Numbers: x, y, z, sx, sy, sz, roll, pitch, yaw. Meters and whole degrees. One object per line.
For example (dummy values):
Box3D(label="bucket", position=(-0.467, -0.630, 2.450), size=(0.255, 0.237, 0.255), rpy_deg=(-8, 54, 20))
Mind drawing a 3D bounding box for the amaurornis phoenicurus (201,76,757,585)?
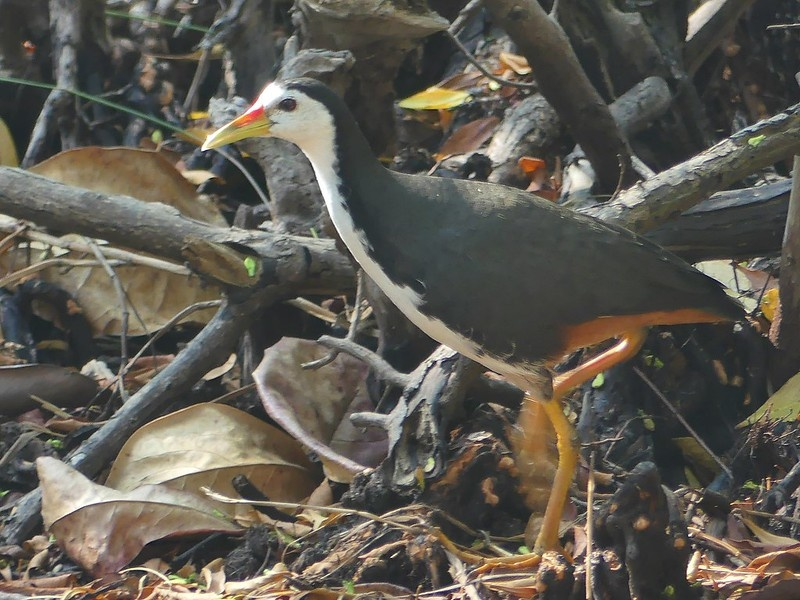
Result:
Box3D(label="amaurornis phoenicurus", position=(0.118, -0.298, 5.294), size=(2.506, 1.911, 1.636), rpy_deg=(-6, 14, -31))
